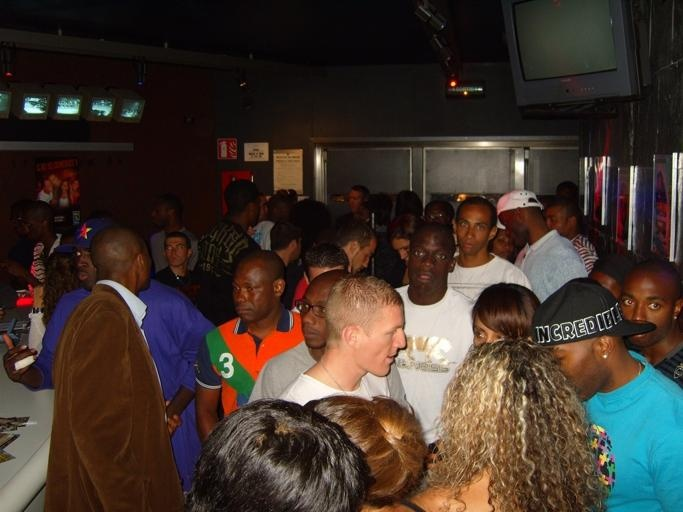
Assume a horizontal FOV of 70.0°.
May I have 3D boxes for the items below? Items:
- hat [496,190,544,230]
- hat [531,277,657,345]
[{"bbox_3d":[1.452,-0.373,4.012,0.376,0.210,0.278,2,18,33],"label":"hat"},{"bbox_3d":[1.009,0.237,1.979,0.385,0.198,0.257,-12,4,7],"label":"hat"}]
